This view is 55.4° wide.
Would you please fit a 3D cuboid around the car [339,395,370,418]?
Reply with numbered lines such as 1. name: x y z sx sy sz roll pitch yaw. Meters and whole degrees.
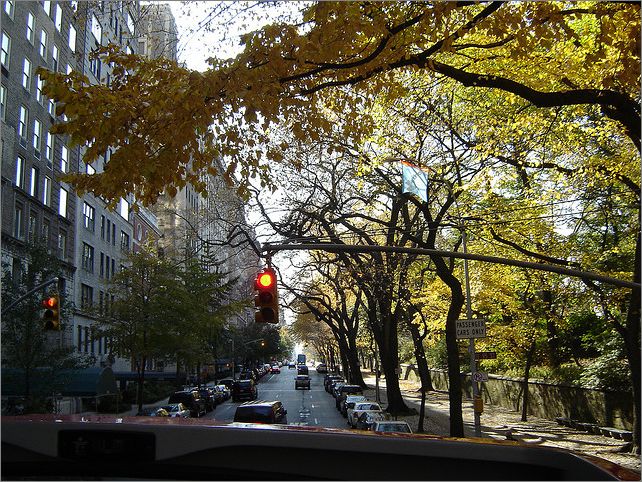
1. car: 1.956 9.700 36.140 0.998 0.906 2.138 1 -11 -3

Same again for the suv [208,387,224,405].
1. suv: -8.417 12.433 49.198 1.170 1.070 2.509 0 -11 2

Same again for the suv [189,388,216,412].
1. suv: -8.402 11.132 43.071 1.298 1.195 2.517 0 -6 2

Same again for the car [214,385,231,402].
1. car: -8.596 13.204 53.189 1.234 1.022 2.660 2 -3 -8

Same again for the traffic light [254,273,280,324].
1. traffic light: -1.272 1.240 14.006 0.519 1.442 0.934 0 -20 -7

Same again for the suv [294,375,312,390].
1. suv: -2.034 15.225 65.850 1.579 1.548 2.462 -1 -20 -4

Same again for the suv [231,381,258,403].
1. suv: -6.464 12.480 50.878 1.803 1.841 2.039 -1 -20 -4

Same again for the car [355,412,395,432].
1. car: 2.168 7.572 25.969 0.803 0.677 1.853 3 -11 -4

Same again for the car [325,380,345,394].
1. car: 1.351 13.835 57.860 1.683 1.445 3.598 2 -8 -2

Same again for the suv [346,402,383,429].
1. suv: 2.031 8.733 30.813 1.097 0.817 2.431 2 -9 -1

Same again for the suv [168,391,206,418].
1. suv: -8.221 9.950 37.516 1.459 1.295 2.951 0 -6 1

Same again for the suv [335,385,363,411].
1. suv: 1.997 10.593 41.673 1.352 1.381 2.433 3 -10 -5
